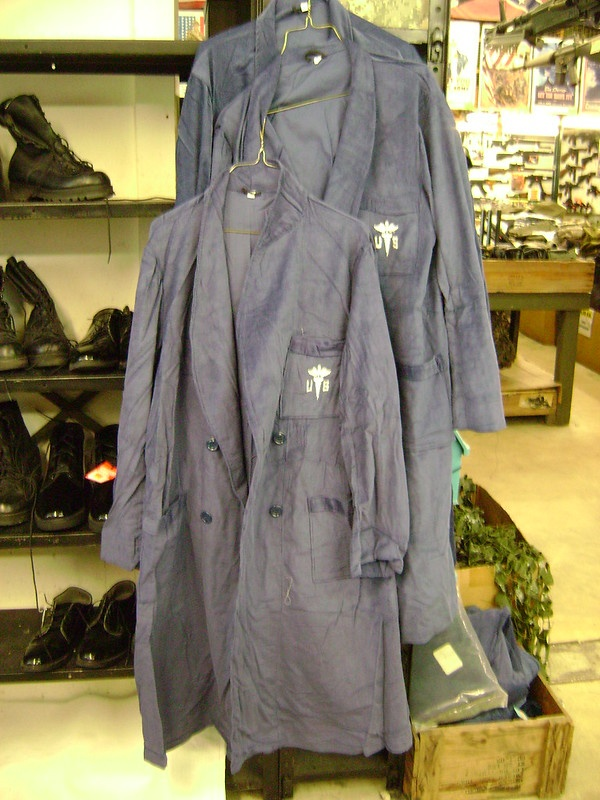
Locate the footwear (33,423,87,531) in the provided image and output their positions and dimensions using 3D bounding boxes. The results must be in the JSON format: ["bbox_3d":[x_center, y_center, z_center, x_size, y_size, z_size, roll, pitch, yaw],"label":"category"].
[{"bbox_3d":[-0.550,0.176,1.685,0.074,0.145,0.309,1,23,-7],"label":"footwear"}]

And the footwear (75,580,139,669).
[{"bbox_3d":[-0.465,0.558,1.738,0.065,0.096,0.223,4,18,4],"label":"footwear"}]

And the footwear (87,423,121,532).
[{"bbox_3d":[-0.435,0.179,1.554,0.057,0.106,0.259,0,42,-9],"label":"footwear"}]
